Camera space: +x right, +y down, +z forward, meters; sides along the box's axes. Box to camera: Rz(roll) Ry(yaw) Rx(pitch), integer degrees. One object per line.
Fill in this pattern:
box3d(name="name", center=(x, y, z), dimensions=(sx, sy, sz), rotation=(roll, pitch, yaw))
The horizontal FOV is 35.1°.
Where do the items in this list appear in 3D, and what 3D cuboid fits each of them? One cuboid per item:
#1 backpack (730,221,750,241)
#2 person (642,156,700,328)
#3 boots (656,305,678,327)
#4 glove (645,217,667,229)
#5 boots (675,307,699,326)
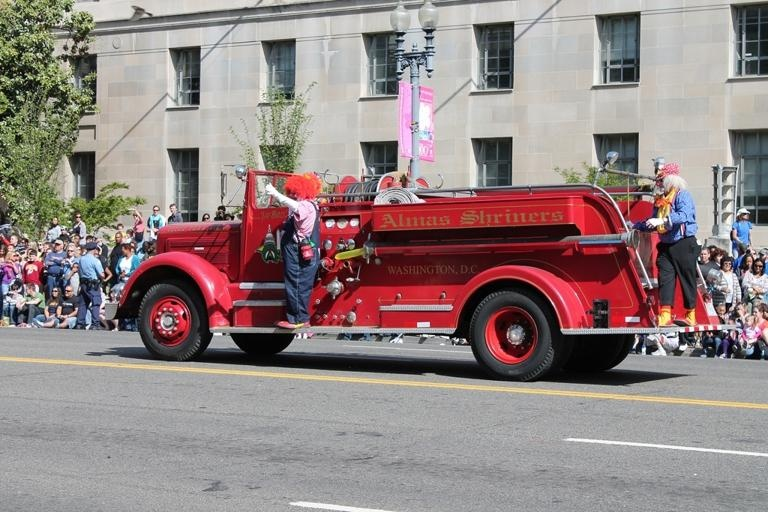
box3d(name="backpack", center=(8.875, -0.610, 30.306), dimensions=(0.529, 0.464, 0.264), rotation=(3, -13, -1))
box3d(name="person", center=(4.507, -0.104, 19.168), dimensions=(0.812, 2.302, 1.181), rotation=(2, 10, 16))
box3d(name="boots", center=(4.375, 0.919, 18.853), dimensions=(0.422, 0.312, 0.175), rotation=(-9, 13, -41))
box3d(name="glove", center=(4.247, -0.499, 19.042), dimensions=(0.320, 0.183, 0.120), rotation=(-7, 12, -36))
box3d(name="boots", center=(4.675, 0.991, 19.098), dimensions=(0.453, 0.292, 0.201), rotation=(12, -15, 1))
